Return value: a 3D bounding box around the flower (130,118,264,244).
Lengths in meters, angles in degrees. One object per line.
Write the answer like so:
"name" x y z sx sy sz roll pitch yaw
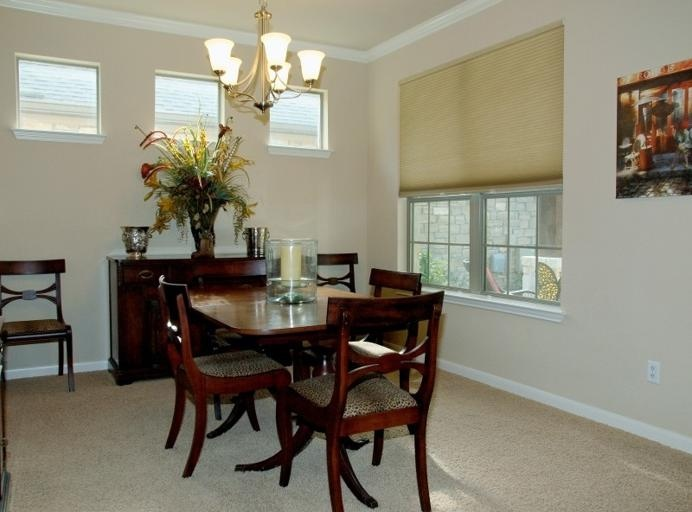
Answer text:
"flower" -1.224 -0.542 4.725 1.104 1.190 1.073 3 -4 5

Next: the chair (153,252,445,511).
"chair" -0.174 0.604 2.651 1.240 1.016 1.286 -4 7 -43

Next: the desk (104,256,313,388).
"desk" -1.447 0.537 4.705 1.300 1.027 0.472 1 2 -41
